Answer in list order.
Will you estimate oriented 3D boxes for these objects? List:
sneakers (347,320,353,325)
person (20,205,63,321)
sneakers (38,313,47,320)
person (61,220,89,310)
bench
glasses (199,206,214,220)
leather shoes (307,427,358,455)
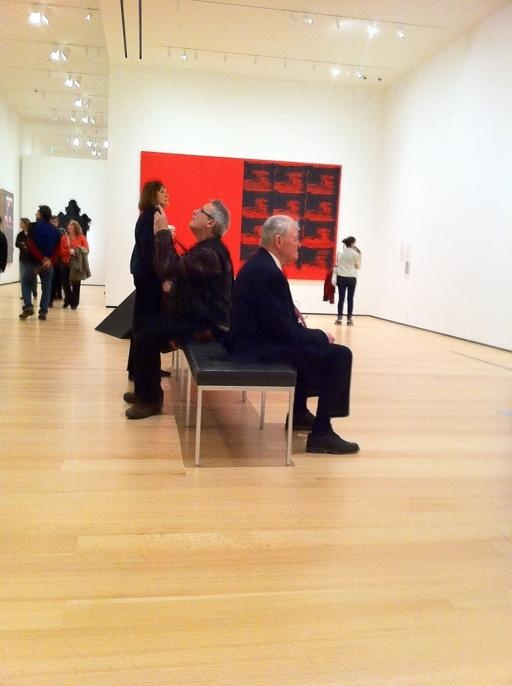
[{"bbox_3d":[1.820,-0.399,10.979,0.073,0.112,0.118,0,0,1],"label":"sneakers"},{"bbox_3d":[-3.502,-1.320,9.184,0.588,1.834,0.973,1,6,-20],"label":"person"},{"bbox_3d":[-3.430,-0.438,9.082,0.092,0.145,0.151,7,-5,-42],"label":"sneakers"},{"bbox_3d":[-3.531,-1.541,11.022,0.492,1.742,0.848,1,6,-19],"label":"person"},{"bbox_3d":[-0.150,0.295,3.472,0.598,0.541,1.539,2,5,-8],"label":"bench"},{"bbox_3d":[-0.312,-0.825,3.551,0.026,0.088,0.086,-16,12,-20],"label":"glasses"},{"bbox_3d":[0.413,0.574,3.265,0.316,0.148,0.121,-1,-3,-1],"label":"leather shoes"}]
